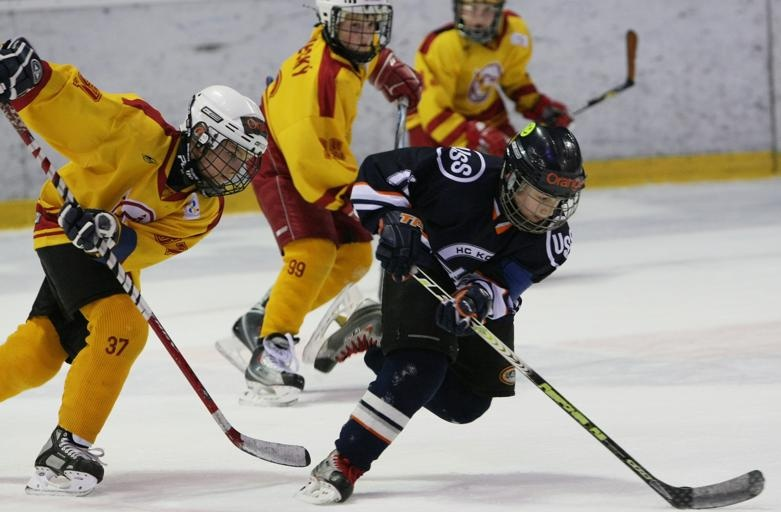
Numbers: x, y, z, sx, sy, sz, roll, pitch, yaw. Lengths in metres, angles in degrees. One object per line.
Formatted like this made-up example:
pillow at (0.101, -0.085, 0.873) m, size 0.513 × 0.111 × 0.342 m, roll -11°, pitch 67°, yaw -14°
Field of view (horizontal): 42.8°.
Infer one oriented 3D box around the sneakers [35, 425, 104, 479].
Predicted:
sneakers at (-1.202, 0.758, 3.768) m, size 0.293 × 0.185 × 0.093 m, roll 7°, pitch -11°, yaw 24°

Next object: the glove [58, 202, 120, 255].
glove at (-1.142, -0.104, 3.780) m, size 0.223 × 0.183 × 0.099 m, roll 3°, pitch 13°, yaw -15°

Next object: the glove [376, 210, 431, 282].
glove at (0.035, -0.030, 3.817) m, size 0.216 × 0.249 × 0.113 m, roll -5°, pitch -10°, yaw -14°

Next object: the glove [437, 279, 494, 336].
glove at (0.284, 0.205, 3.831) m, size 0.149 × 0.242 × 0.105 m, roll 41°, pitch -8°, yaw 29°

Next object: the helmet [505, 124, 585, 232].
helmet at (0.573, -0.290, 3.813) m, size 0.313 × 0.423 × 0.185 m, roll 7°, pitch 13°, yaw 4°
